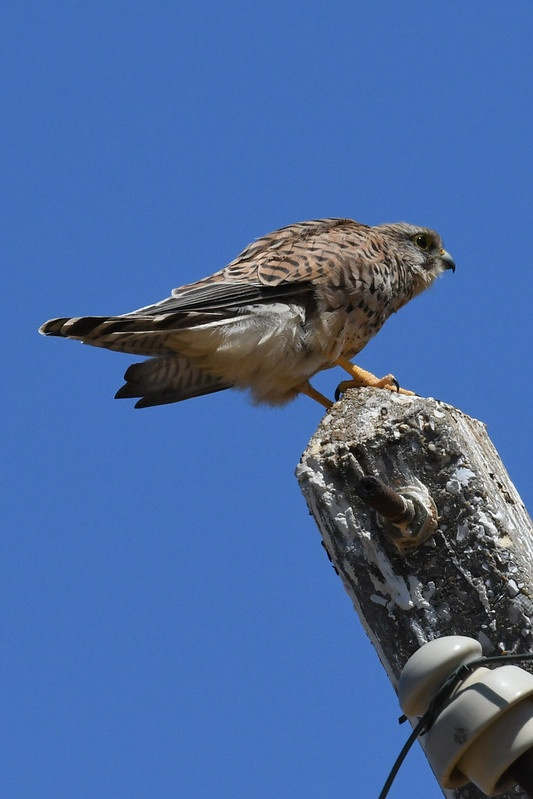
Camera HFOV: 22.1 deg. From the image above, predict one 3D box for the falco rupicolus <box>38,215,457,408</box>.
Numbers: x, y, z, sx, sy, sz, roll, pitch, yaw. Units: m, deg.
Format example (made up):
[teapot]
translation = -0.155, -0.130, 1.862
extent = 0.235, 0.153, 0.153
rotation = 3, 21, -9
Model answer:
[falco rupicolus]
translation = 0.025, -0.431, 5.961
extent = 2.149, 0.739, 0.638
rotation = -1, -27, -29
